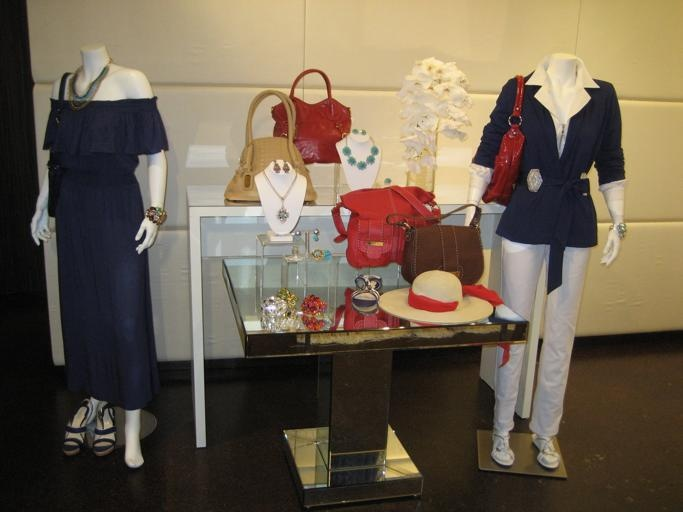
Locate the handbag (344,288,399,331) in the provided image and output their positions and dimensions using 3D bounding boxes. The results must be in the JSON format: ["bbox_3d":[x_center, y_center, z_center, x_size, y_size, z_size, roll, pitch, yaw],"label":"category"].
[{"bbox_3d":[0.123,0.222,2.415,0.221,0.053,0.333,1,15,1],"label":"handbag"}]

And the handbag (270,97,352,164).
[{"bbox_3d":[-0.151,-0.595,2.988,0.359,0.480,0.174,-1,1,-13],"label":"handbag"}]

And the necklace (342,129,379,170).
[{"bbox_3d":[0.098,-0.498,3.054,0.189,0.196,0.190,-1,-12,-5],"label":"necklace"}]

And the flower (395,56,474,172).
[{"bbox_3d":[0.465,-0.749,3.213,0.458,0.773,0.487,0,22,2],"label":"flower"}]

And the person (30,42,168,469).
[{"bbox_3d":[-1.127,-0.093,2.722,0.620,1.609,0.298,4,14,16],"label":"person"}]

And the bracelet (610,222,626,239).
[{"bbox_3d":[1.296,-0.102,2.733,0.052,0.074,0.072,-2,12,-2],"label":"bracelet"}]

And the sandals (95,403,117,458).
[{"bbox_3d":[-1.158,0.844,2.863,0.080,0.062,0.257,-4,48,-15],"label":"sandals"}]

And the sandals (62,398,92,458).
[{"bbox_3d":[-1.270,0.828,2.865,0.096,0.306,0.088,0,-18,4],"label":"sandals"}]

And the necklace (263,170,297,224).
[{"bbox_3d":[-0.286,-0.249,2.721,0.175,0.252,0.143,-3,18,-15],"label":"necklace"}]

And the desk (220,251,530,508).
[{"bbox_3d":[0.037,0.620,2.515,1.051,0.863,1.104,-2,21,-10],"label":"desk"}]

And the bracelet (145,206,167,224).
[{"bbox_3d":[-0.856,-0.164,2.712,0.064,0.050,0.083,0,22,-38],"label":"bracelet"}]

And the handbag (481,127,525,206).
[{"bbox_3d":[0.745,-0.396,2.673,0.100,0.384,0.148,20,35,10],"label":"handbag"}]

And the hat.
[{"bbox_3d":[0.359,0.191,2.349,0.263,0.096,0.283,-1,17,16],"label":"hat"}]
